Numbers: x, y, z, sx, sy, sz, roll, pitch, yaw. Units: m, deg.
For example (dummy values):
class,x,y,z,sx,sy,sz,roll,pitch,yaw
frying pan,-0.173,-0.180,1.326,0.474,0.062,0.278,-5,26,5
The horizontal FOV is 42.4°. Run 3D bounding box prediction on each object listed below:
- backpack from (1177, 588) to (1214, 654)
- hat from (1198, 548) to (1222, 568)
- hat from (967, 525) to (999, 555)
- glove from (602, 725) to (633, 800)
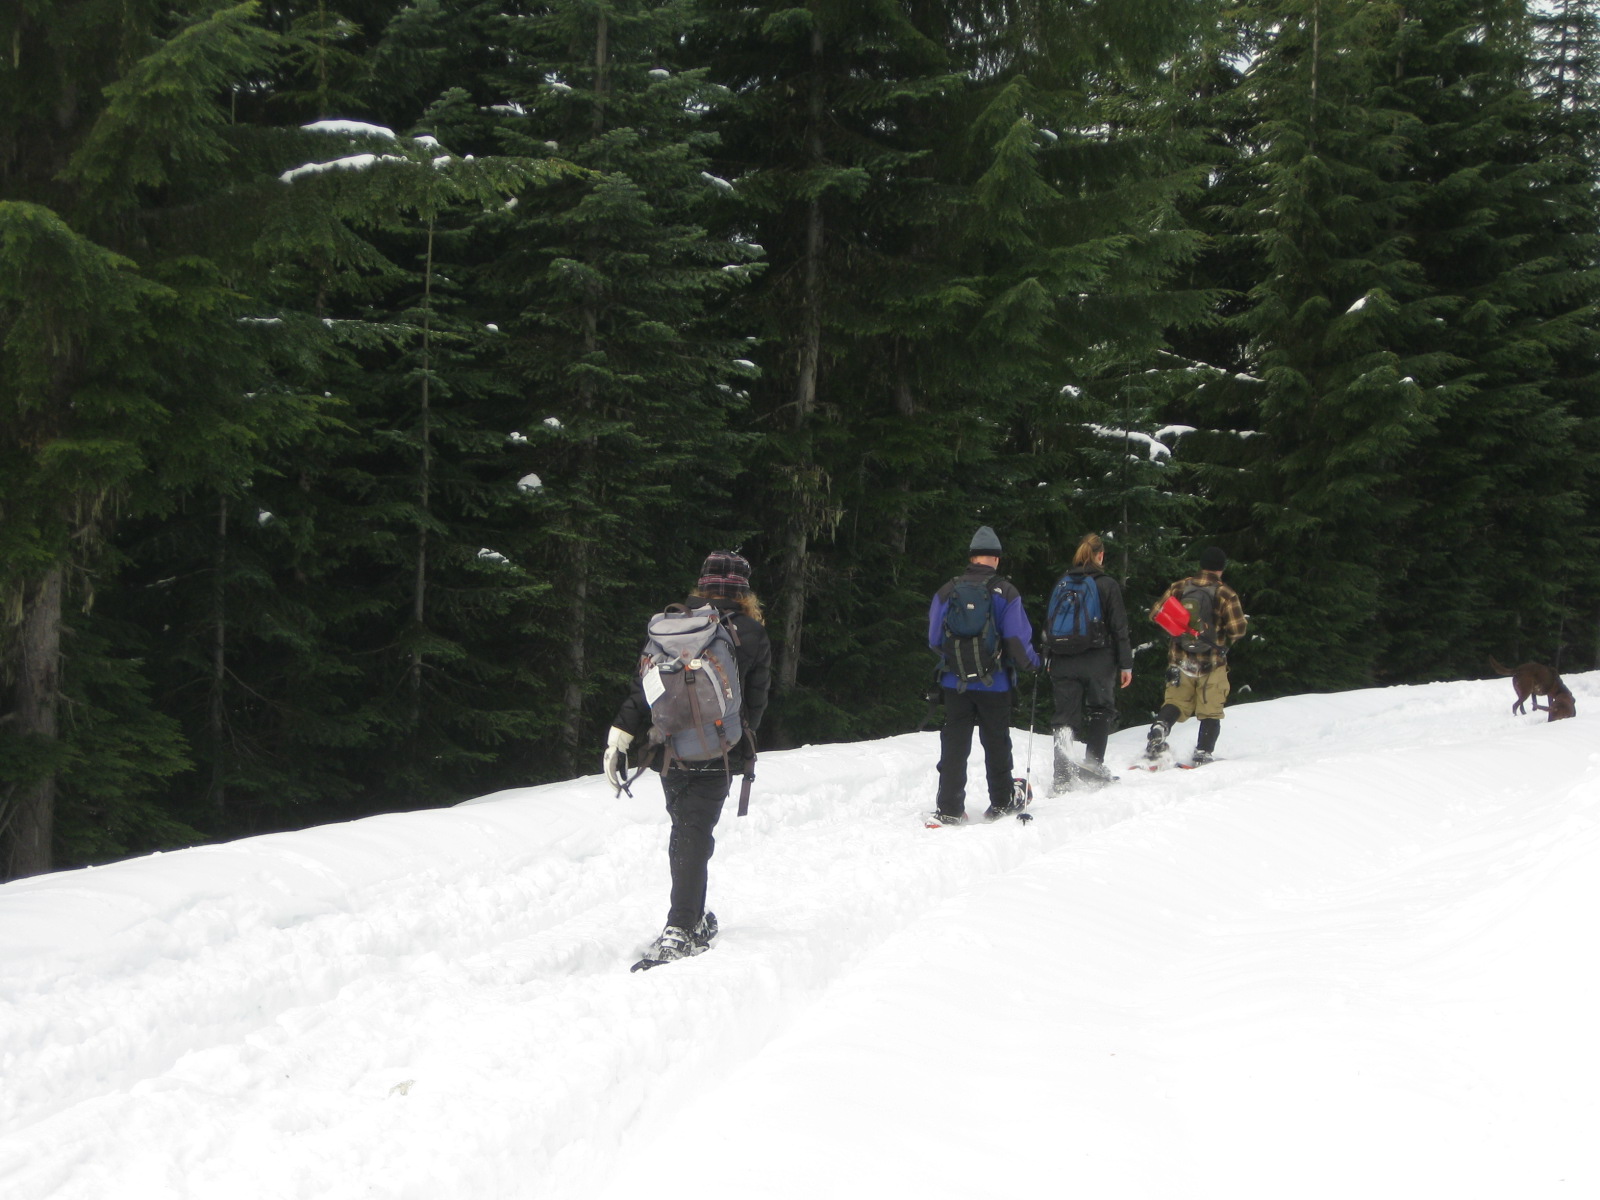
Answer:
class,x,y,z,sx,sy,sz,roll,pitch,yaw
backpack,4.455,0.222,23.142,0.151,0.638,0.371,8,-2,-40
hat,4.635,-0.469,23.273,0.210,0.206,0.199,3,6,39
hat,1.981,-0.594,21.527,0.386,0.380,0.388,2,1,-8
glove,-1.689,1.551,19.087,0.281,0.727,0.527,9,6,-10
